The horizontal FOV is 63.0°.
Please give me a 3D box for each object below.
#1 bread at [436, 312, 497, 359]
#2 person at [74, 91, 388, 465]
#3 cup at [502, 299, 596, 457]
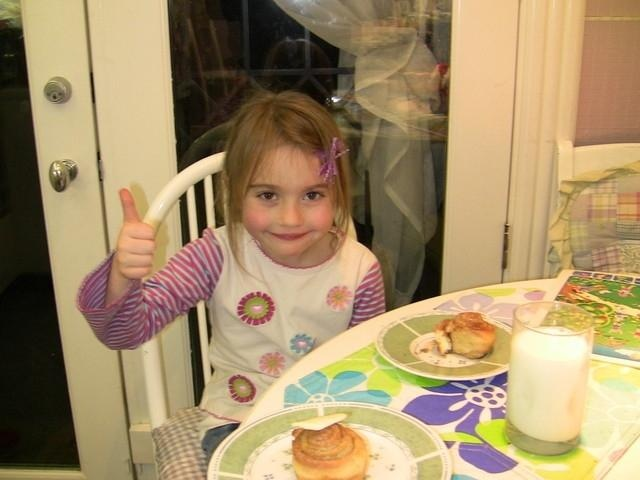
[{"bbox_3d":[0.251,0.162,0.887,0.086,0.040,0.070,-1,43,28],"label":"bread"},{"bbox_3d":[-0.162,0.130,1.180,0.782,0.842,0.487,3,11,2],"label":"person"},{"bbox_3d":[0.329,0.189,0.747,0.108,0.174,0.149,8,24,29],"label":"cup"}]
